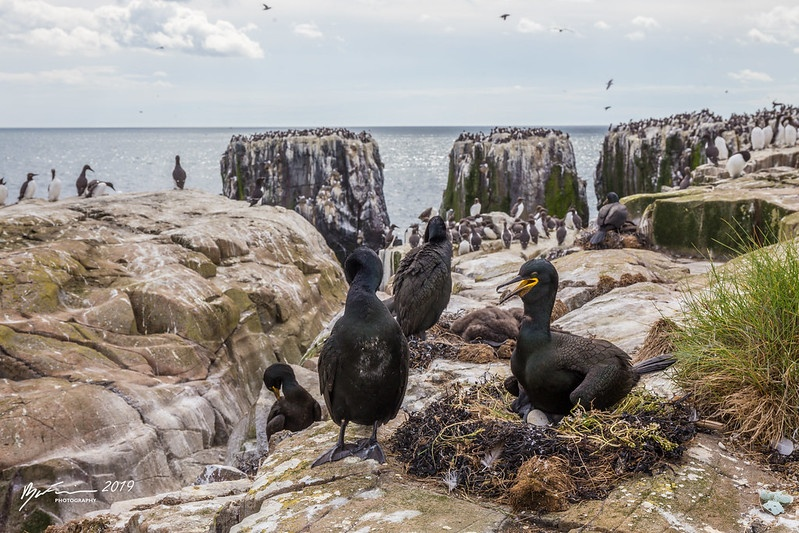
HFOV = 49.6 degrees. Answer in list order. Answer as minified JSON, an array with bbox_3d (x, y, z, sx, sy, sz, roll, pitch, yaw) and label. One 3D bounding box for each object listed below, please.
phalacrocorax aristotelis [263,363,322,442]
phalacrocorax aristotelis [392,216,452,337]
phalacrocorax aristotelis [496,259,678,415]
[{"bbox_3d":[-2.065,2.433,15.596,0.872,1.487,1.490,-34,-3,-18],"label":"phalacrocorax aristotelis"},{"bbox_3d":[0.833,0.231,15.260,1.001,2.182,1.797,1,-4,4],"label":"phalacrocorax aristotelis"},{"bbox_3d":[2.719,1.143,13.679,2.736,2.305,1.960,-5,-4,-16],"label":"phalacrocorax aristotelis"}]
